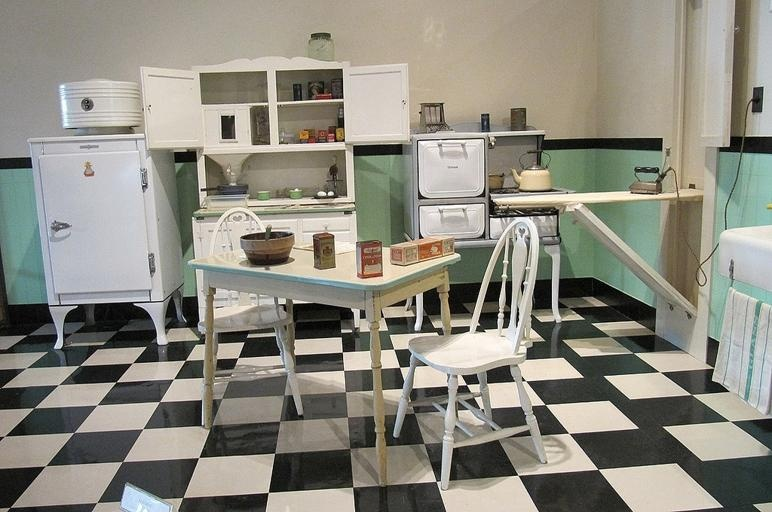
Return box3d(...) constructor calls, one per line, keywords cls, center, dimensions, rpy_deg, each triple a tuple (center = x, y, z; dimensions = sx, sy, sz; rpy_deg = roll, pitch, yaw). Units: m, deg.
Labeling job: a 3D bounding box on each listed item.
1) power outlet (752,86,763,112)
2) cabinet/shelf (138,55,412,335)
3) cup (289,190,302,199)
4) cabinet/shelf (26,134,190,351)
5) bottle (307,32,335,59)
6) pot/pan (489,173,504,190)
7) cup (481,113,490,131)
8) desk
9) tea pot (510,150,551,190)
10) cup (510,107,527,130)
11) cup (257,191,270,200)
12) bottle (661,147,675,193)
box3d(cls="power outlet", center=(2.538, -1.060, 3.799), dimensions=(0.027, 0.164, 0.100), rpy_deg=(-7, 16, -11))
box3d(cls="cabinet/shelf", center=(-1.048, -0.623, 4.885), dimensions=(2.698, 2.747, 0.891), rpy_deg=(-1, 8, -3))
box3d(cls="cup", center=(-0.903, -0.613, 5.572), dimensions=(0.104, 0.065, 0.085), rpy_deg=(2, 0, -20))
box3d(cls="cabinet/shelf", center=(-2.575, -0.153, 5.157), dimensions=(1.071, 1.872, 0.738), rpy_deg=(-4, 15, -1))
box3d(cls="bottle", center=(-0.612, -1.981, 5.331), dimensions=(0.257, 0.259, 0.267), rpy_deg=(0, 6, -6))
box3d(cls="pot/pan", center=(1.039, -0.694, 5.255), dimensions=(0.153, 0.096, 0.131), rpy_deg=(1, 5, 2))
box3d(cls="cup", center=(0.989, -1.334, 5.570), dimensions=(0.092, 0.169, 0.270), rpy_deg=(-1, 15, 10))
box3d(cls="desk", center=(-0.389, 0.597, 3.605), dimensions=(1.535, 1.199, 0.814), rpy_deg=(4, 17, 25))
box3d(cls="tea pot", center=(1.419, -0.779, 5.268), dimensions=(0.531, 0.446, 0.401), rpy_deg=(0, 9, 12))
box3d(cls="cup", center=(1.296, -1.336, 5.470), dimensions=(0.145, 0.209, 0.184), rpy_deg=(-1, 15, 8))
box3d(cls="cup", center=(-1.228, -0.599, 5.588), dimensions=(0.091, 0.068, 0.111), rpy_deg=(-1, -5, 1))
box3d(cls="bottle", center=(2.305, -0.701, 4.517), dimensions=(0.110, 0.350, 0.272), rpy_deg=(4, 17, 26))
